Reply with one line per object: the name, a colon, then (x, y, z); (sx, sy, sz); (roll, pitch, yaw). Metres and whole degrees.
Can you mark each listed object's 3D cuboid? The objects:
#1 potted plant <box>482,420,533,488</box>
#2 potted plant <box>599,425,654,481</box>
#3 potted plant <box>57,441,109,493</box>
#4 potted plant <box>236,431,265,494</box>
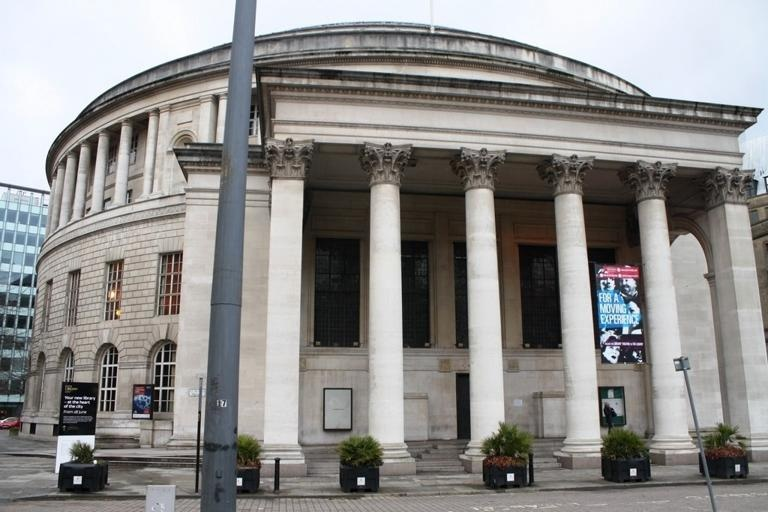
potted plant: (5.757, 9.535, 32.586); (3.192, 3.370, 2.562); (4, -16, -12)
potted plant: (11.680, 9.809, 33.090); (2.555, 2.436, 2.311); (10, -18, -33)
potted plant: (-13.757, 9.678, 30.814); (1.968, 2.270, 1.045); (6, -20, -25)
potted plant: (-6.178, 9.537, 30.771); (1.105, 2.510, 0.758); (5, -20, -21)
